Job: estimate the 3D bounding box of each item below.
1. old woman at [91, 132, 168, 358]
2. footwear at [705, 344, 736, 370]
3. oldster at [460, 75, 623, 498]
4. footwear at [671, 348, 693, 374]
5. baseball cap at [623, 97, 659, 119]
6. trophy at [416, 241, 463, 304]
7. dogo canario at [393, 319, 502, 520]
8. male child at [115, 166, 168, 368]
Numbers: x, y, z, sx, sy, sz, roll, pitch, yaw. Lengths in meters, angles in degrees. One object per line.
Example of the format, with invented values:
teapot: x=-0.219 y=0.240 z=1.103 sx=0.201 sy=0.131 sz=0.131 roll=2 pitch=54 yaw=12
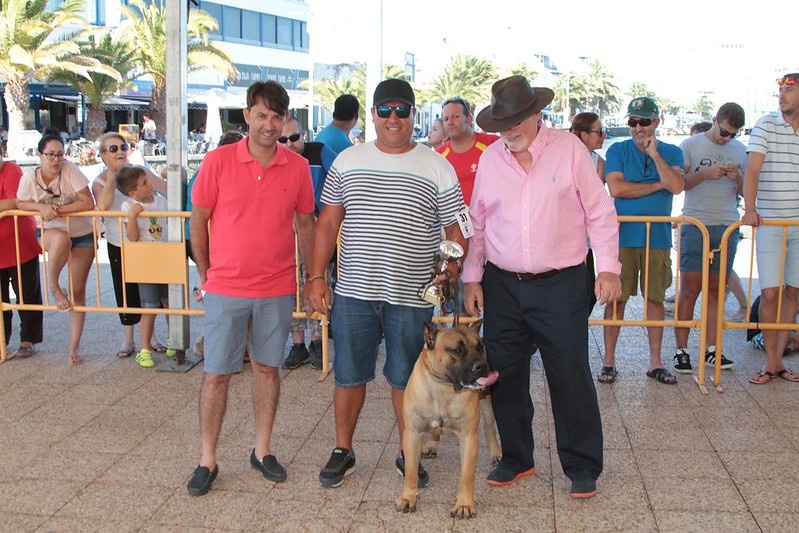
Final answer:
old woman: x=-3.131 y=-0.247 z=7.247 sx=1.002 sy=2.403 sz=0.885 roll=-1 pitch=9 yaw=-10
footwear: x=3.294 y=0.963 z=6.742 sx=0.189 sy=0.205 sz=0.538 roll=-6 pitch=-12 yaw=7
oldster: x=0.998 y=0.150 z=4.690 sx=1.113 sy=2.967 sz=0.390 roll=2 pitch=7 yaw=17
footwear: x=2.911 y=0.990 z=6.689 sx=0.122 sy=0.134 sz=0.327 roll=-1 pitch=0 yaw=5
baseball cap: x=2.453 y=-1.588 z=6.550 sx=0.291 sy=0.234 sz=0.281 roll=2 pitch=8 yaw=19
trophy: x=0.298 y=0.057 z=4.618 sx=0.302 sy=0.472 sz=0.172 roll=0 pitch=7 yaw=3
dogo canario: x=0.296 y=1.044 z=4.521 sx=0.796 sy=1.268 sz=0.933 roll=0 pitch=-3 yaw=-4
male child: x=-2.639 y=-0.029 z=7.137 sx=0.740 sy=1.987 sz=0.689 roll=0 pitch=4 yaw=-12
